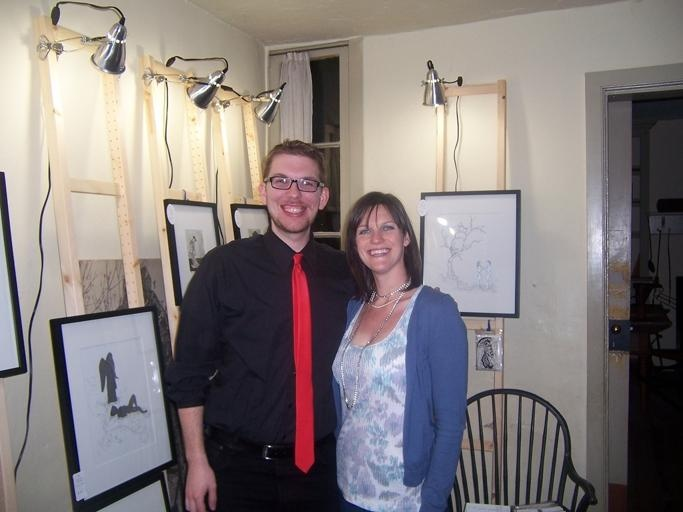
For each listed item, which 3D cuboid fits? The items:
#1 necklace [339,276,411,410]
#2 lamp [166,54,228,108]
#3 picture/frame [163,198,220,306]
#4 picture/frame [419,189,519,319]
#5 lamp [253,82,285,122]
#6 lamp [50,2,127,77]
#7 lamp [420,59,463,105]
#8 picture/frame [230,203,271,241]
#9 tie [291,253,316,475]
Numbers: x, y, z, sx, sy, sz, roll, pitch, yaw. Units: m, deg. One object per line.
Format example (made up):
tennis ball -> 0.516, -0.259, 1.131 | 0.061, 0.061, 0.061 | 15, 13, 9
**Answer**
necklace -> 0.168, 0.347, 2.623 | 0.067, 0.710, 0.202 | 31, -34, -19
lamp -> -0.834, -0.997, 3.193 | 0.302, 0.356, 0.524 | -2, 5, -18
picture/frame -> -0.783, -0.008, 2.886 | 0.058, 0.670, 0.528 | -6, 0, 23
picture/frame -> 0.801, -0.019, 3.524 | 0.605, 0.858, 0.022 | 2, 31, 17
lamp -> -0.437, -0.900, 3.384 | 0.162, 0.215, 0.250 | -2, 4, -9
lamp -> -1.193, -1.059, 2.652 | 0.309, 0.422, 0.490 | -3, 5, -26
lamp -> 0.652, -1.125, 3.560 | 0.237, 0.369, 0.481 | 0, 5, 13
picture/frame -> -0.539, -0.195, 3.269 | 0.018, 0.203, 0.221 | -5, 1, 36
tie -> -0.179, 0.478, 2.587 | 0.080, 0.954, 0.268 | -1, 4, -5
